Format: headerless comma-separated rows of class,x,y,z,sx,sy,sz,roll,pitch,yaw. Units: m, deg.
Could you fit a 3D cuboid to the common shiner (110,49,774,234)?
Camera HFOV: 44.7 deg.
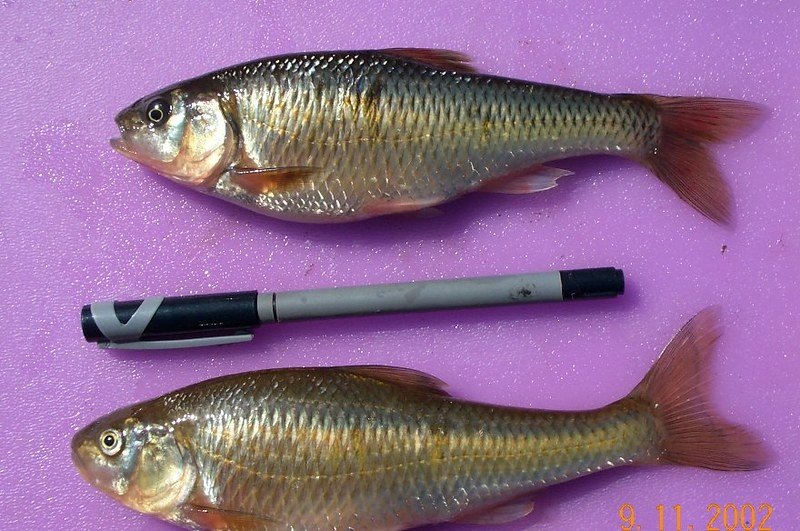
common shiner,0.069,-0.299,2.241,1.448,0.416,0.312,0,24,-1
